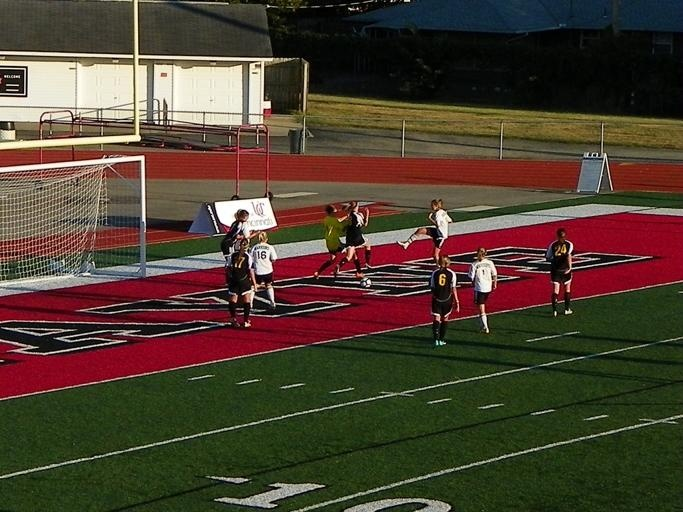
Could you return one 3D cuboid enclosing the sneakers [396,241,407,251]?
[{"bbox_3d":[1.540,-0.249,24.960,0.290,0.211,0.100,46,6,19],"label":"sneakers"}]

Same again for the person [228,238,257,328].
[{"bbox_3d":[-1.975,0.601,19.324,0.518,1.754,0.706,-1,16,-5],"label":"person"}]

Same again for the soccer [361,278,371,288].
[{"bbox_3d":[0.573,0.641,22.601,0.249,0.209,0.224,-2,35,-28],"label":"soccer"}]

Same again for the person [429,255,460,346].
[{"bbox_3d":[1.919,0.863,18.363,0.439,1.678,0.692,4,16,13],"label":"person"}]

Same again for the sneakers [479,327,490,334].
[{"bbox_3d":[2.820,1.490,19.163,0.230,0.128,0.073,6,19,24],"label":"sneakers"}]

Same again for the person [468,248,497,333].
[{"bbox_3d":[2.832,0.571,19.583,0.519,1.693,1.467,3,16,9],"label":"person"}]

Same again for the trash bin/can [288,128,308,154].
[{"bbox_3d":[-1.939,-5.047,42.690,0.689,1.096,1.097,-1,15,-5],"label":"trash bin/can"}]

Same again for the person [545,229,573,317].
[{"bbox_3d":[4.560,0.345,20.271,0.606,1.806,1.062,4,16,12],"label":"person"}]

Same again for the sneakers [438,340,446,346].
[{"bbox_3d":[1.907,1.660,18.435,0.064,0.062,0.182,5,8,30],"label":"sneakers"}]
